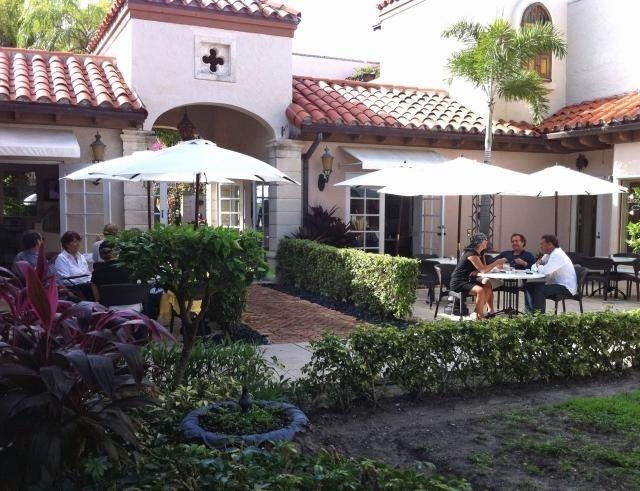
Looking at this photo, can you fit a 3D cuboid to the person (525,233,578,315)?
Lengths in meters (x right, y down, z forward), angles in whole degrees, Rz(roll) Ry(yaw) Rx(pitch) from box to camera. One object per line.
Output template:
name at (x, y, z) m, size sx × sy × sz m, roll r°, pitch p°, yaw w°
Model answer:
person at (3.755, 0.479, 10.758) m, size 0.831 × 1.283 × 0.853 m, roll 4°, pitch 8°, yaw 12°

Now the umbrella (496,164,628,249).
umbrella at (4.566, -0.725, 12.748) m, size 1.796 × 1.286 × 1.869 m, roll 1°, pitch -1°, yaw 9°

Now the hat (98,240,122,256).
hat at (-2.324, 0.023, 7.493) m, size 0.167 × 0.222 × 0.221 m, roll -1°, pitch 9°, yaw -18°

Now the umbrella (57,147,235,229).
umbrella at (-2.700, -1.063, 9.687) m, size 1.502 × 1.050 × 1.590 m, roll 5°, pitch 8°, yaw 32°

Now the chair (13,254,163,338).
chair at (-2.332, 0.507, 6.828) m, size 0.775 × 0.405 × 0.791 m, roll 15°, pitch -10°, yaw 15°

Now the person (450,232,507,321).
person at (2.547, 0.431, 10.637) m, size 0.573 × 1.203 × 0.832 m, roll -1°, pitch 8°, yaw -24°

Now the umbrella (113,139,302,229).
umbrella at (-1.777, -0.958, 9.731) m, size 2.144 × 1.138 × 2.915 m, roll 0°, pitch 8°, yaw -17°

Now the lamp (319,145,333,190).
lamp at (0.163, -1.743, 15.472) m, size 0.371 × 1.014 × 1.046 m, roll 2°, pitch 7°, yaw 0°
